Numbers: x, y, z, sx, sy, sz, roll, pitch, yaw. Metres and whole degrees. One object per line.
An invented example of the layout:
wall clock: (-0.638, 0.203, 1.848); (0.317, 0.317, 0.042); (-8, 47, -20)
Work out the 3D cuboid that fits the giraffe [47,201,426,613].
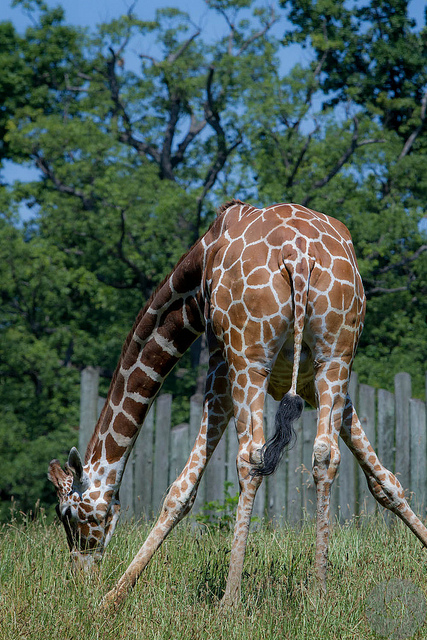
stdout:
giraffe: (-0.035, 0.652, 11.085); (2.207, 3.388, 0.883); (-1, -12, 33)
